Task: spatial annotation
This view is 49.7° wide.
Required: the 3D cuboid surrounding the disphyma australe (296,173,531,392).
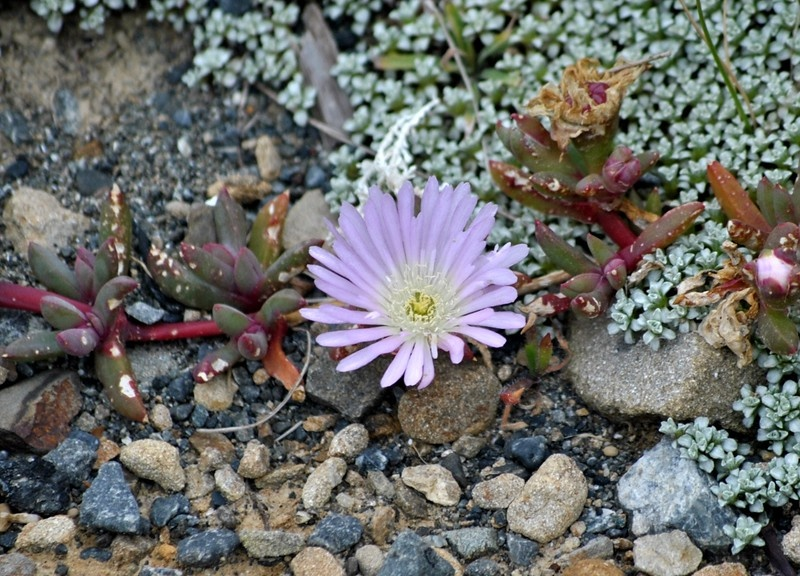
[{"bbox_3d":[0.053,0.043,4.017,0.966,0.693,0.883,3,63,-8],"label":"disphyma australe"}]
